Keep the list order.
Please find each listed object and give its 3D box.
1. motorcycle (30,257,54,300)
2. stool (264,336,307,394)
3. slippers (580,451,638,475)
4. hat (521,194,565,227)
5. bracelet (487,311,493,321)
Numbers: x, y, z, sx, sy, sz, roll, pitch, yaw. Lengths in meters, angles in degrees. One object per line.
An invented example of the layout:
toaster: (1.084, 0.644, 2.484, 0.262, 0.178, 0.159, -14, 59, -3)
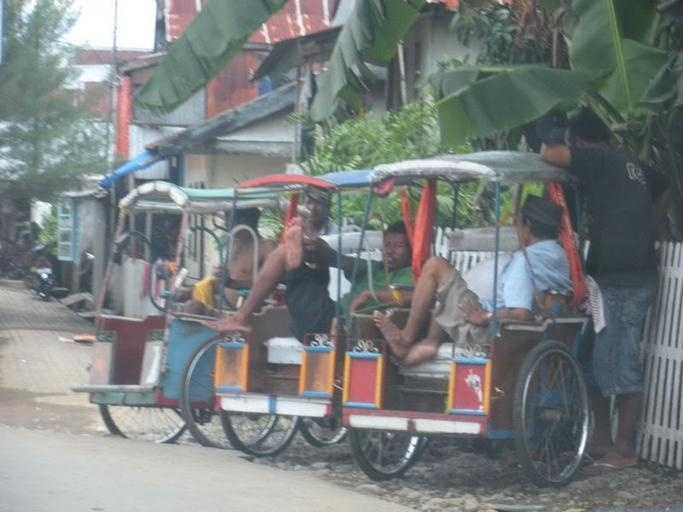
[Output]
motorcycle: (-7.261, 0.567, 31.326, 0.599, 0.701, 1.091, 0, 4, -24)
stool: (-0.634, 1.248, 14.824, 0.559, 0.770, 0.622, 1, -5, -2)
slippers: (2.968, 2.259, 14.211, 0.536, 0.146, 0.243, -3, 1, 7)
hat: (2.204, -0.497, 14.150, 0.384, 0.195, 0.295, 13, -9, -29)
bracelet: (1.557, 0.614, 13.510, 0.064, 0.060, 0.110, -2, -13, 1)
